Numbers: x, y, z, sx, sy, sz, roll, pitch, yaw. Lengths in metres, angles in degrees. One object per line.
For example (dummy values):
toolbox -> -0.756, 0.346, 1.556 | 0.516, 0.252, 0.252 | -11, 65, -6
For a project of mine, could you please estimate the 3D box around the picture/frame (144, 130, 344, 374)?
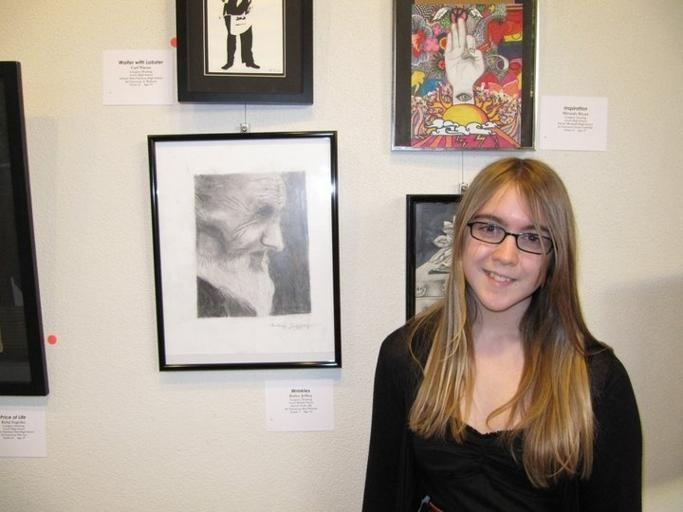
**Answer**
picture/frame -> -0.321, -0.036, 2.184 | 0.803, 0.990, 0.038 | -1, 2, -2
